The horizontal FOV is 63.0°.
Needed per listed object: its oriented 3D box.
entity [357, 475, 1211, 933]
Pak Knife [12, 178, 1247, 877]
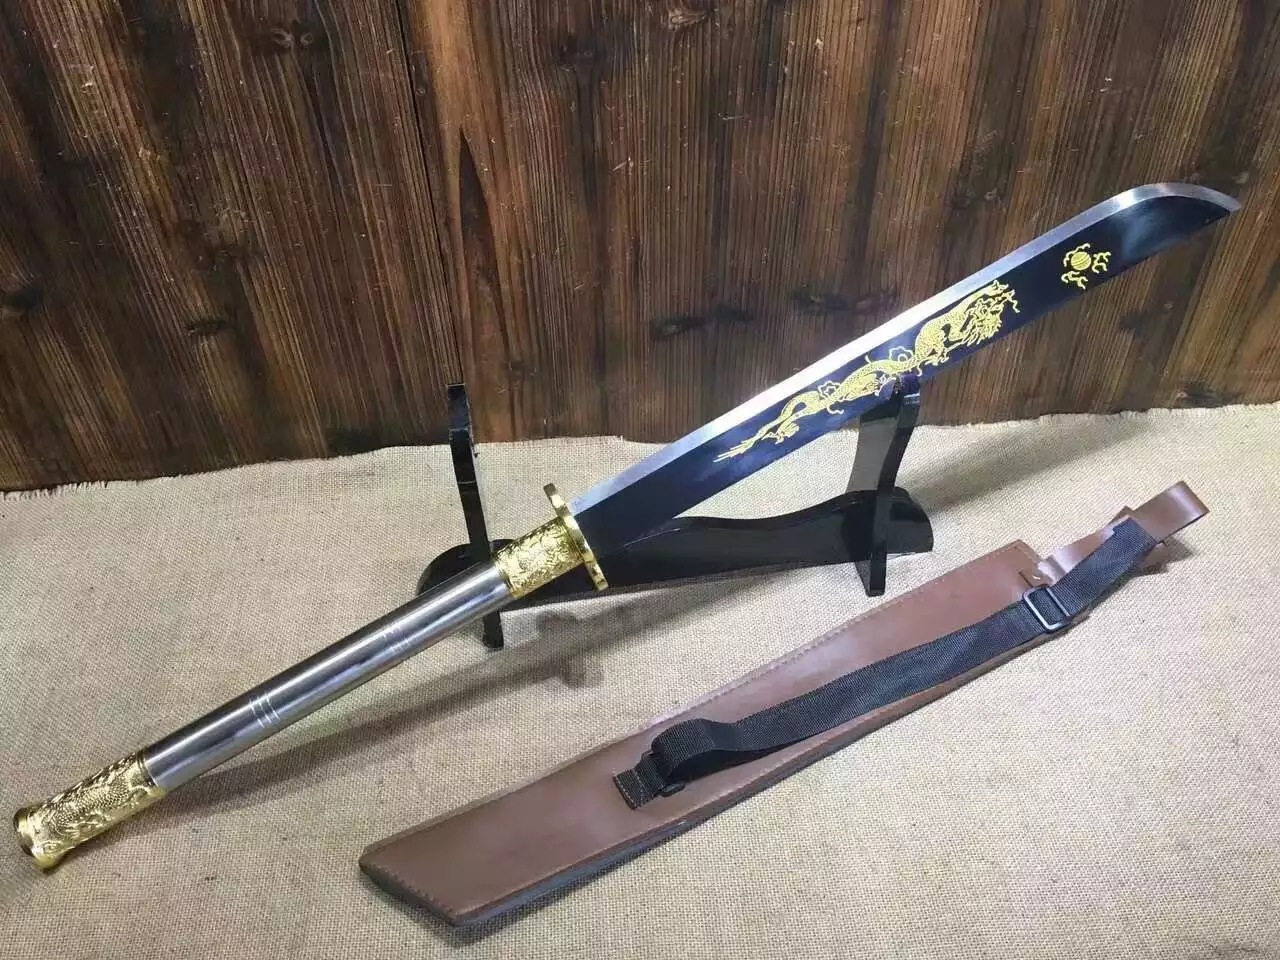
[{"bbox_3d":[0.221,0.362,1.575,0.906,0.109,0.162,-30,48,-11],"label":"entity"},{"bbox_3d":[-0.056,0.079,1.671,1.532,0.158,0.223,-32,45,2],"label":"Pak Knife"}]
